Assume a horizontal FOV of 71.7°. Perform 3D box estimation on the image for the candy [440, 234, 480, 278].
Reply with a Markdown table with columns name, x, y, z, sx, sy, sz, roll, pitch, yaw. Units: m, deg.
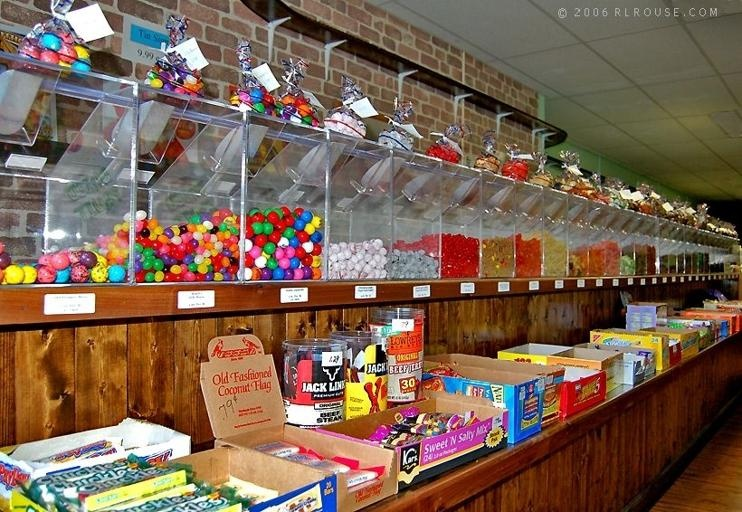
| name | x | y | z | sx | sy | sz | roll | pitch | yaw |
| --- | --- | --- | --- | --- | --- | --- | --- | --- | --- |
| candy | 0.440 | 0.011 | 2.539 | 0.204 | 0.206 | 0.218 | 0 | -4 | 41 |

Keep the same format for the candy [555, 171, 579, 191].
| name | x | y | z | sx | sy | sz | roll | pitch | yaw |
| --- | --- | --- | --- | --- | --- | --- | --- | --- | --- |
| candy | 1.454 | -0.539 | 3.792 | 0.167 | 0.178 | 0.174 | -2 | -7 | 33 |

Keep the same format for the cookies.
| name | x | y | z | sx | sy | sz | roll | pitch | yaw |
| --- | --- | --- | --- | --- | --- | --- | --- | --- | --- |
| cookies | -0.175 | 0.646 | 1.625 | 0.420 | 0.073 | 0.213 | -3 | -4 | 41 |

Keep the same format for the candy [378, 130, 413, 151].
| name | x | y | z | sx | sy | sz | roll | pitch | yaw |
| --- | --- | --- | --- | --- | --- | --- | --- | --- | --- |
| candy | 0.114 | -0.536 | 2.399 | 0.149 | 0.071 | 0.122 | 22 | 11 | -18 |

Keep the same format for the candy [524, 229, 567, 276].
| name | x | y | z | sx | sy | sz | roll | pitch | yaw |
| --- | --- | --- | --- | --- | --- | --- | --- | --- | --- |
| candy | 1.072 | -0.015 | 3.187 | 0.116 | 0.332 | 0.285 | -4 | 2 | 36 |

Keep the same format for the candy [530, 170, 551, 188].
| name | x | y | z | sx | sy | sz | roll | pitch | yaw |
| --- | --- | --- | --- | --- | --- | --- | --- | --- | --- |
| candy | 1.138 | -0.507 | 3.419 | 0.138 | 0.131 | 0.138 | 1 | 1 | -1 |

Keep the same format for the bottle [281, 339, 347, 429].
| name | x | y | z | sx | sy | sz | roll | pitch | yaw |
| --- | --- | --- | --- | --- | --- | --- | --- | --- | --- |
| bottle | -0.203 | 0.476 | 1.978 | 0.261 | 0.298 | 0.259 | -2 | -2 | 30 |

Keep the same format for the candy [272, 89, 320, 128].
| name | x | y | z | sx | sy | sz | roll | pitch | yaw |
| --- | --- | --- | --- | --- | --- | --- | --- | --- | --- |
| candy | -0.299 | -0.560 | 2.085 | 0.182 | 0.181 | 0.182 | 1 | 1 | -15 |

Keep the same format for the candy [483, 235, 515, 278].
| name | x | y | z | sx | sy | sz | roll | pitch | yaw |
| --- | --- | --- | --- | --- | --- | --- | --- | --- | --- |
| candy | 0.687 | 0.004 | 2.787 | 0.119 | 0.218 | 0.228 | -3 | 0 | 43 |

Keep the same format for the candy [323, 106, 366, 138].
| name | x | y | z | sx | sy | sz | roll | pitch | yaw |
| --- | --- | --- | --- | --- | --- | --- | --- | --- | --- |
| candy | -0.112 | -0.566 | 2.229 | 0.169 | 0.072 | 0.165 | 7 | 10 | -35 |

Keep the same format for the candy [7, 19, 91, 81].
| name | x | y | z | sx | sy | sz | roll | pitch | yaw |
| --- | --- | --- | --- | --- | --- | --- | --- | --- | --- |
| candy | -0.951 | -0.630 | 1.540 | 0.196 | 0.160 | 0.133 | 2 | -4 | -24 |

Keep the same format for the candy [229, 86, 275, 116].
| name | x | y | z | sx | sy | sz | roll | pitch | yaw |
| --- | --- | --- | --- | --- | --- | --- | --- | --- | --- |
| candy | -0.449 | -0.602 | 1.974 | 0.164 | 0.076 | 0.130 | 16 | 29 | 12 |

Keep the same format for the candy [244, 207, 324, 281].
| name | x | y | z | sx | sy | sz | roll | pitch | yaw |
| --- | --- | --- | --- | --- | --- | --- | --- | --- | --- |
| candy | -0.357 | -0.068 | 1.977 | 0.330 | 0.326 | 0.239 | -3 | 7 | -40 |

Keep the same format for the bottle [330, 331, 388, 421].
| name | x | y | z | sx | sy | sz | roll | pitch | yaw |
| --- | --- | --- | --- | --- | --- | --- | --- | --- | --- |
| bottle | -0.036 | 0.460 | 2.057 | 0.213 | 0.355 | 0.212 | 2 | 9 | 0 |

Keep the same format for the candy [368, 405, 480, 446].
| name | x | y | z | sx | sy | sz | roll | pitch | yaw |
| --- | --- | --- | --- | --- | --- | --- | --- | --- | --- |
| candy | 0.169 | 0.612 | 1.834 | 0.146 | 0.063 | 0.207 | -5 | -5 | 44 |
